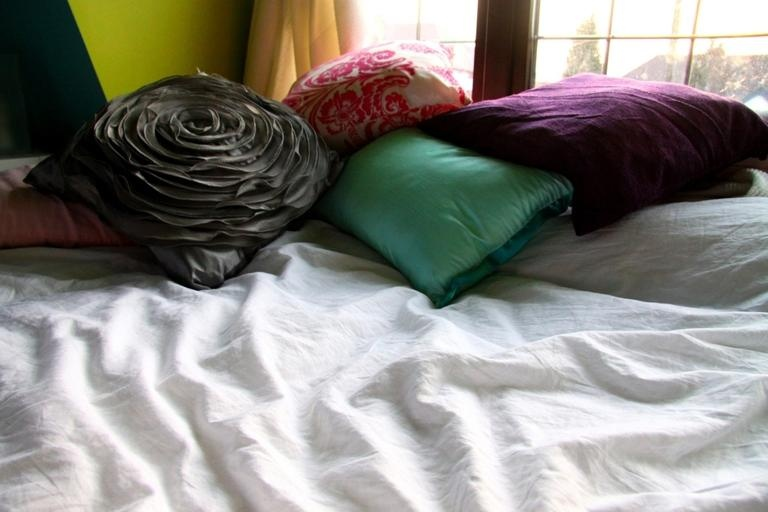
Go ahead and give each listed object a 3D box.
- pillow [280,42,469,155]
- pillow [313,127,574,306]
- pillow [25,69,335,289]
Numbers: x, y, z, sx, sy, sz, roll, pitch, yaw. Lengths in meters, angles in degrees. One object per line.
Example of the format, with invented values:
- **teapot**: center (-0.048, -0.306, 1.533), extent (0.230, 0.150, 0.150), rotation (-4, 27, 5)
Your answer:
- **pillow**: center (0.003, -0.287, 1.226), extent (0.296, 0.086, 0.281), rotation (-23, 32, 3)
- **pillow**: center (0.101, -0.081, 0.976), extent (0.322, 0.092, 0.332), rotation (-40, 49, -22)
- **pillow**: center (-0.352, -0.079, 1.076), extent (0.409, 0.158, 0.420), rotation (39, 51, 8)
